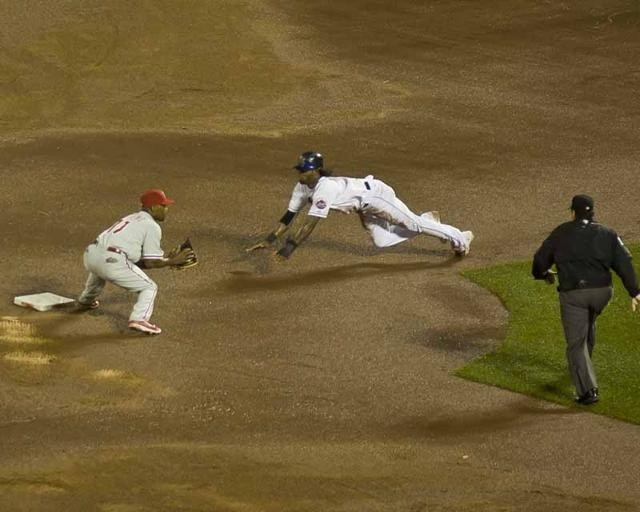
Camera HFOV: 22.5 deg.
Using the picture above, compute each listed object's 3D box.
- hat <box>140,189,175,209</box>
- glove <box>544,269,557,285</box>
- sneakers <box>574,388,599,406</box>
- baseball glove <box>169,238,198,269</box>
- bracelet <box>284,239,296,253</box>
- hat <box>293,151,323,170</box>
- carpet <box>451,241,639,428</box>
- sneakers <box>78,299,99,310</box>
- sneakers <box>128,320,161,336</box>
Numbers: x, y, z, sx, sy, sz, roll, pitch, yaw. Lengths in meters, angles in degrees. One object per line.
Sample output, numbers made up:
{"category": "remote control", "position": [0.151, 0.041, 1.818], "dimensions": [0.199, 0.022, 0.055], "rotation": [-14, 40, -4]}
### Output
{"category": "hat", "position": [-2.938, -1.033, 29.584], "dimensions": [0.638, 0.275, 0.413], "rotation": [-1, 11, -19]}
{"category": "glove", "position": [4.048, 0.375, 28.466], "dimensions": [0.219, 0.215, 0.258], "rotation": [-6, -3, 14]}
{"category": "sneakers", "position": [4.659, 2.421, 28.118], "dimensions": [0.194, 0.200, 0.498], "rotation": [-14, 6, 10]}
{"category": "baseball glove", "position": [-2.511, -0.055, 29.669], "dimensions": [0.571, 0.448, 0.520], "rotation": [-15, -6, -9]}
{"category": "bracelet", "position": [-0.544, -0.196, 29.865], "dimensions": [0.189, 0.197, 0.346], "rotation": [11, 12, 8]}
{"category": "hat", "position": [-0.230, -1.781, 30.364], "dimensions": [0.514, 0.222, 0.347], "rotation": [1, 13, -10]}
{"category": "carpet", "position": [4.218, 1.835, 29.310], "dimensions": [3.240, 0.032, 3.101], "rotation": [-8, 30, 6]}
{"category": "sneakers", "position": [-4.293, 0.884, 29.958], "dimensions": [0.163, 0.131, 0.346], "rotation": [-4, 3, 43]}
{"category": "sneakers", "position": [-3.185, 1.263, 29.430], "dimensions": [0.671, 0.272, 0.225], "rotation": [12, 26, -31]}
